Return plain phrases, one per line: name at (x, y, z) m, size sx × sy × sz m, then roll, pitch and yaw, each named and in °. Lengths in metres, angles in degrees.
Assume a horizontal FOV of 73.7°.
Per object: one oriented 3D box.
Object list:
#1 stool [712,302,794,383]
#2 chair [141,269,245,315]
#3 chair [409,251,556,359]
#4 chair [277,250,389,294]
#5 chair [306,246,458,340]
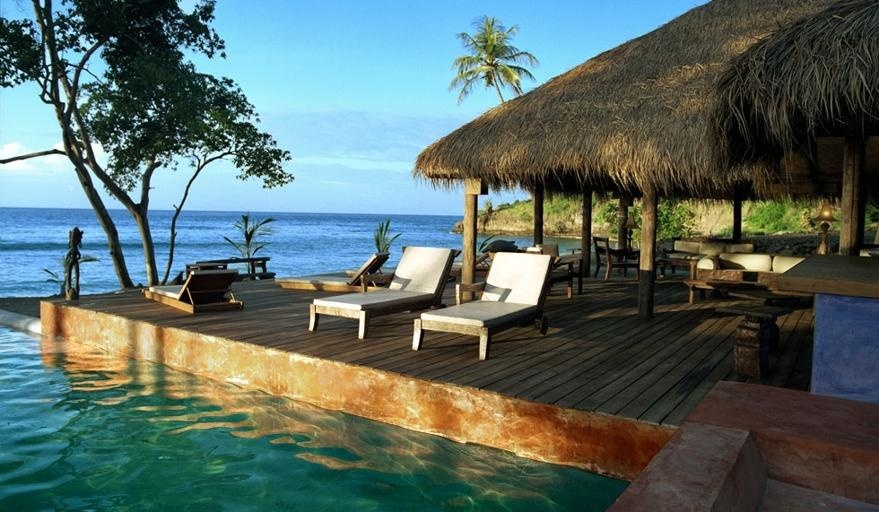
stool at (4.084, 1.065, 7.506) m, size 1.064 × 0.850 × 0.939 m, roll 0°, pitch 4°, yaw -9°
chair at (-4.078, 0.514, 9.755) m, size 0.785 × 0.452 × 1.479 m, roll 0°, pitch 6°, yaw -44°
chair at (0.718, 0.599, 8.256) m, size 1.134 × 1.058 × 1.995 m, roll 6°, pitch 11°, yaw 37°
chair at (-1.970, 0.348, 11.087) m, size 1.999 × 0.559 × 1.024 m, roll 1°, pitch 2°, yaw 24°
chair at (-0.794, 0.479, 8.982) m, size 1.101 × 0.977 × 2.079 m, roll 6°, pitch 11°, yaw 44°
